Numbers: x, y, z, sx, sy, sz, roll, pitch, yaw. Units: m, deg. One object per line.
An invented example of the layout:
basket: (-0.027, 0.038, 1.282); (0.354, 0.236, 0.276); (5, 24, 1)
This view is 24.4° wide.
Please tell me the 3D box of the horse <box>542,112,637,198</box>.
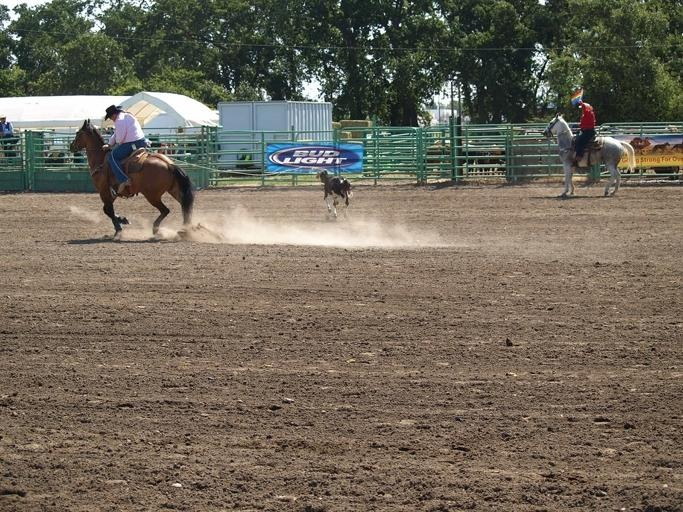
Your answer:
horse: (9.752, -3.880, 61.844); (3.918, 2.994, 1.043); (6, 8, 26)

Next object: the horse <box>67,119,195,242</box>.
horse: (-7.188, -2.557, 54.247); (4.903, 4.000, 1.511); (5, 13, 18)

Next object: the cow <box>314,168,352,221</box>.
cow: (-0.303, -2.319, 56.179); (0.448, 1.141, 1.911); (4, 4, -39)
